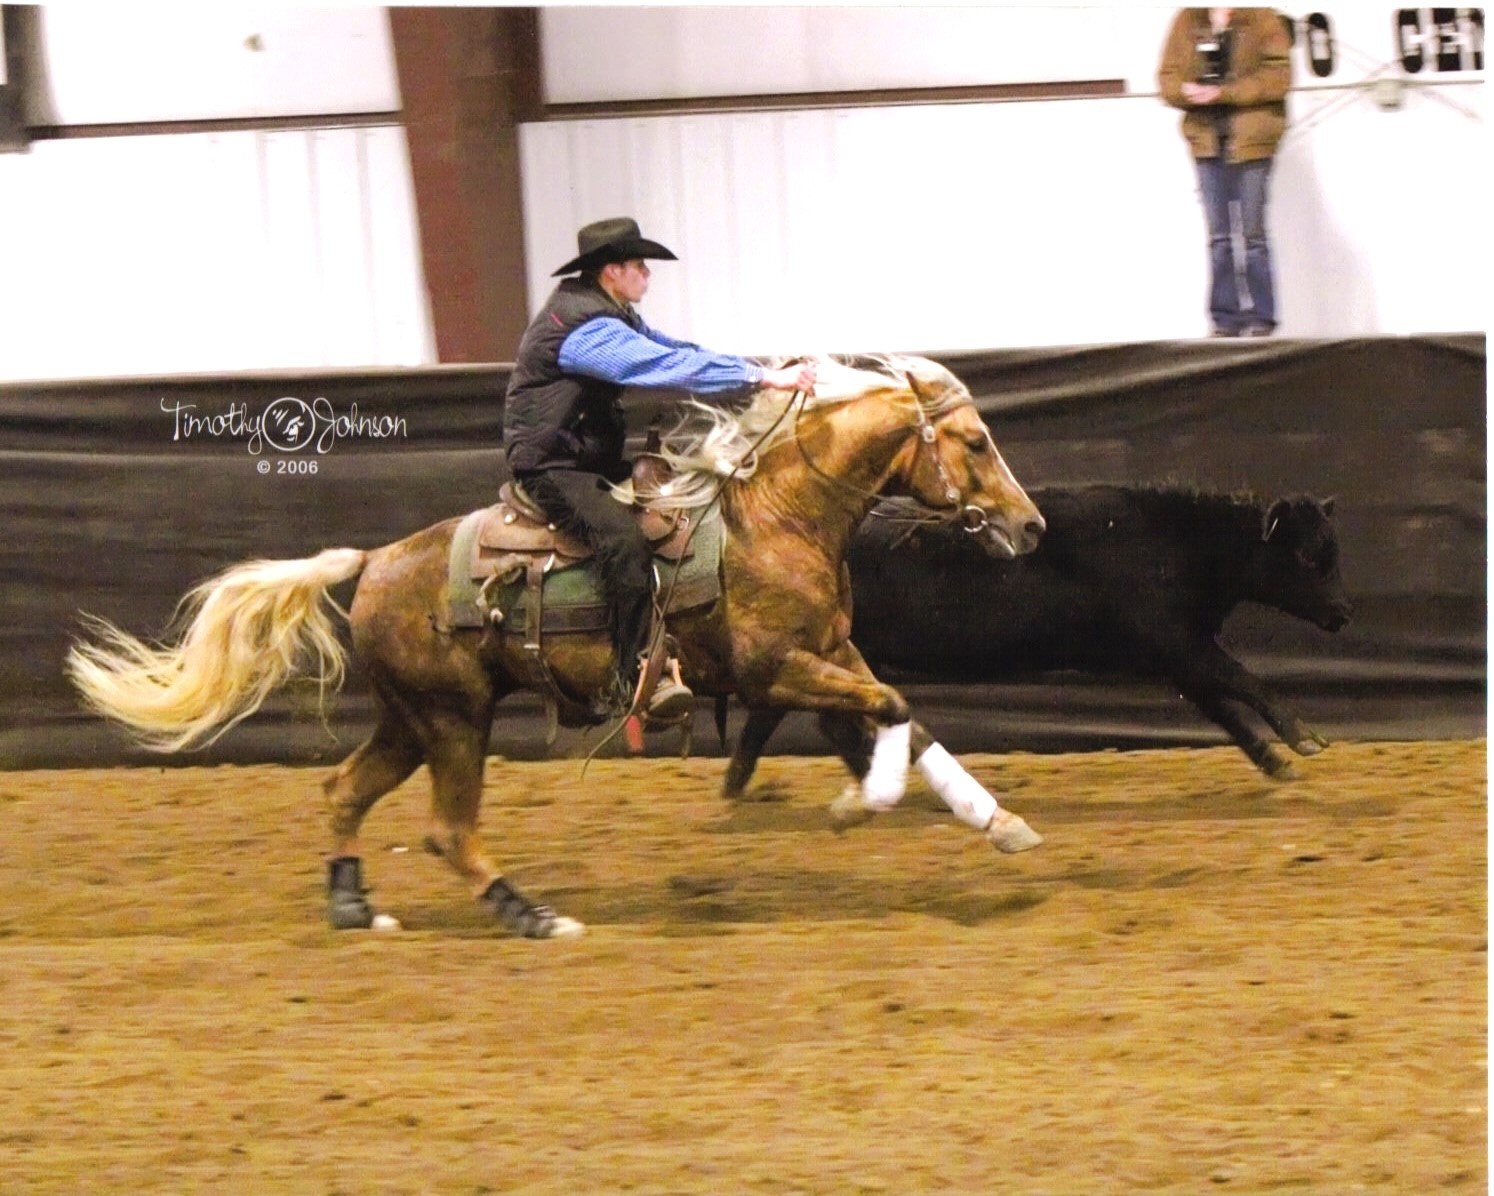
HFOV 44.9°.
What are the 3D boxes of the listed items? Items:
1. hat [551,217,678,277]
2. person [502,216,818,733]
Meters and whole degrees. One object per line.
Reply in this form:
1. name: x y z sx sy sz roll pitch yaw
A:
1. hat: -0.474 -1.250 6.439 0.412 0.104 0.274 -10 0 5
2. person: -0.334 -0.471 6.429 0.828 1.727 0.588 -12 13 -34
